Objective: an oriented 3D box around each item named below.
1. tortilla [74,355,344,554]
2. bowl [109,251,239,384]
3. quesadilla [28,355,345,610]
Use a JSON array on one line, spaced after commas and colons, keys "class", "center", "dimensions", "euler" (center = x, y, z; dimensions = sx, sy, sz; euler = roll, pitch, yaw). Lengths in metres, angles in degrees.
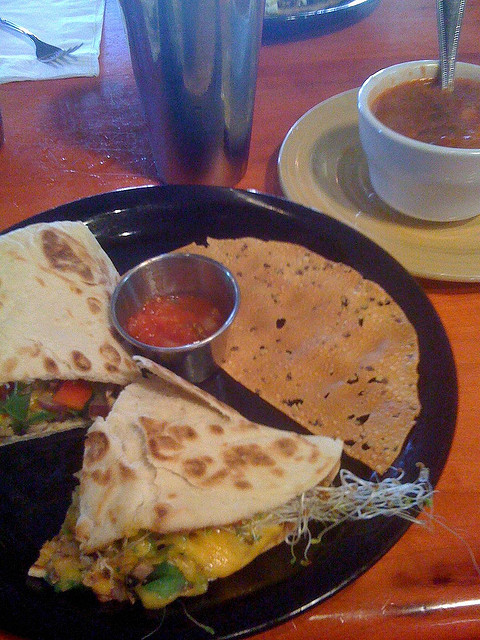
[{"class": "tortilla", "center": [-0.109, 0.435, 1.677], "dimensions": [0.663, 0.222, 0.624], "euler": [7, 40, 0]}, {"class": "bowl", "center": [-0.258, -0.022, 2.128], "dimensions": [0.527, 0.300, 0.493], "euler": [-1, 51, 1]}, {"class": "quesadilla", "center": [-0.146, 0.461, 1.604], "dimensions": [0.744, 0.382, 0.661], "euler": [11, 32, 19]}]
